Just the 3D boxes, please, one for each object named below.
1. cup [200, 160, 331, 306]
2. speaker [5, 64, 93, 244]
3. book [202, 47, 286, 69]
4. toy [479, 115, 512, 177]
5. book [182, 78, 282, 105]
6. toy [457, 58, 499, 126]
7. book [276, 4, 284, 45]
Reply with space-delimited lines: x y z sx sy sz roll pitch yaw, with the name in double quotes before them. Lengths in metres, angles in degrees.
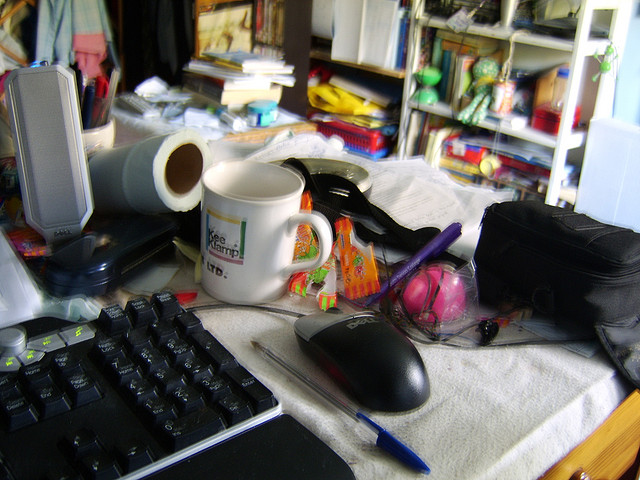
"cup" -0.065 0.011 0.653 0.177 0.155 0.112 18 23 20
"speaker" -0.347 -0.106 0.625 0.080 0.219 0.059 -9 31 -23
"book" -0.268 -0.590 1.562 0.164 0.024 0.151 -14 34 -42
"toy" 0.849 -0.468 2.383 0.072 0.259 0.085 24 40 6
"book" -0.308 -0.481 1.576 0.161 0.034 0.165 28 30 37
"toy" 0.771 -0.715 2.340 0.129 0.289 0.166 19 32 24
"book" -0.135 -0.727 1.631 0.027 0.120 0.010 18 31 23
